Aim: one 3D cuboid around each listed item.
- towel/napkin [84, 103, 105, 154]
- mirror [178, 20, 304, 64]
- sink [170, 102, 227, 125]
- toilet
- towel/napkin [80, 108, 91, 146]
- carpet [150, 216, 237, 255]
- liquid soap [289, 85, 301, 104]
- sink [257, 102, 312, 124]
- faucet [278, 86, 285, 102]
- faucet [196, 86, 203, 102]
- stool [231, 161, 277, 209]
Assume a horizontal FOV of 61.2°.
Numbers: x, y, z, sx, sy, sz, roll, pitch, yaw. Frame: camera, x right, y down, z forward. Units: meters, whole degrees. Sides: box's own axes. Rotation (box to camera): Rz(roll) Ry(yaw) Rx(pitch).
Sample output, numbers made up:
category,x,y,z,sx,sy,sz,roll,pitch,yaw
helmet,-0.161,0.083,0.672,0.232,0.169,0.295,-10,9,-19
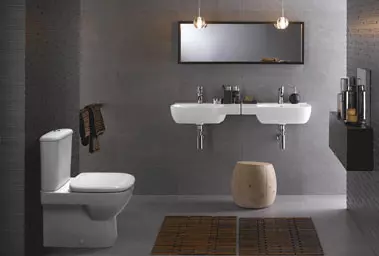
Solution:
category,x,y,z,sx,sy,sz,roll,pitch,yaw
towel/napkin,-1.214,-0.011,4.145,0.128,0.508,0.492,-2,2,-7
mirror,0.687,-1.144,4.285,1.650,0.529,0.115,0,12,3
sink,0.124,-0.166,4.195,0.698,0.281,0.331,1,12,4
toilet,-1.000,0.592,3.173,0.849,1.122,0.393,1,13,6
towel/napkin,-1.305,-0.006,4.005,0.095,0.381,0.214,0,0,14
carpet,0.089,1.104,3.366,0.823,0.037,0.850,1,12,7
liquid soap,1.425,-0.448,4.321,0.146,0.223,0.134,3,13,16
sink,1.202,-0.174,4.159,0.676,0.264,0.408,1,12,6
faucet,1.246,-0.449,4.322,0.090,0.225,0.131,3,13,15
faucet,0.146,-0.455,4.373,0.078,0.228,0.109,0,12,4
stool,0.825,0.712,4.113,0.569,0.528,0.565,0,-1,-19
